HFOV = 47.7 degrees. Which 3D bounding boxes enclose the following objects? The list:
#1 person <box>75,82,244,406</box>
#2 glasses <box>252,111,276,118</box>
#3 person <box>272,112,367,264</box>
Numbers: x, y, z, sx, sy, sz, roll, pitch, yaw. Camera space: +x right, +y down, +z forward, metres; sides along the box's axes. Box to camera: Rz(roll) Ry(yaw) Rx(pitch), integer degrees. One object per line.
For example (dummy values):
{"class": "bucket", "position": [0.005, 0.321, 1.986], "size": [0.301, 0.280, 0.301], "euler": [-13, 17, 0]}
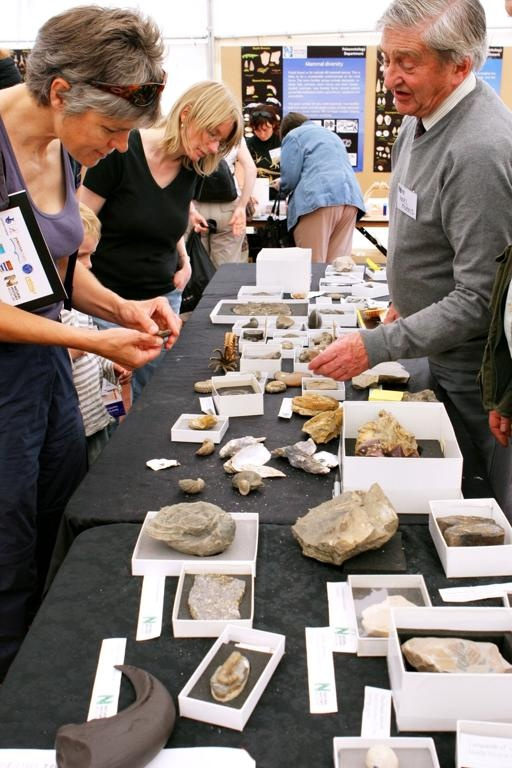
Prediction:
{"class": "person", "position": [-0.567, -0.511, 3.031], "size": [0.637, 2.078, 0.591], "euler": [-1, 30, -24]}
{"class": "glasses", "position": [0.083, -2.627, 5.689], "size": [0.222, 0.068, 0.087], "euler": [-6, 30, -7]}
{"class": "person", "position": [0.521, -1.494, 4.645], "size": [0.587, 1.307, 0.562], "euler": [5, 37, 19]}
